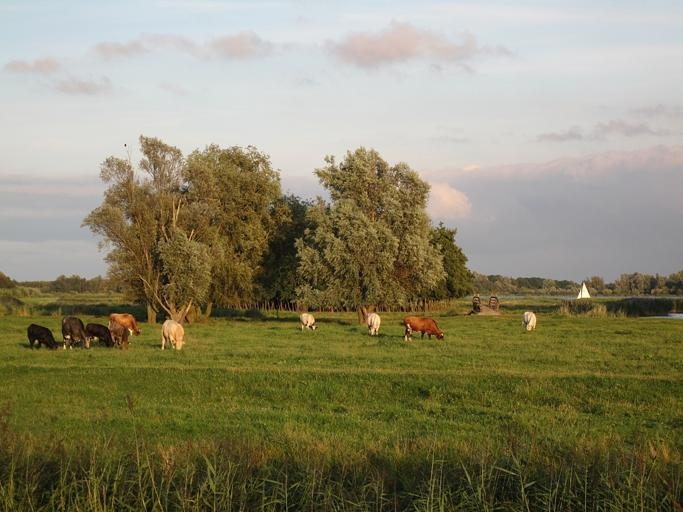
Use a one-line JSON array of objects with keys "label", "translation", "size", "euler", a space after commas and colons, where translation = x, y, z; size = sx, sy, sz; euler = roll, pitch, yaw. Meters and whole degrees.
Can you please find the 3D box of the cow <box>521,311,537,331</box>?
[{"label": "cow", "translation": [12.675, 4.365, 74.678], "size": [0.612, 1.489, 2.596], "euler": [2, 12, 8]}]
